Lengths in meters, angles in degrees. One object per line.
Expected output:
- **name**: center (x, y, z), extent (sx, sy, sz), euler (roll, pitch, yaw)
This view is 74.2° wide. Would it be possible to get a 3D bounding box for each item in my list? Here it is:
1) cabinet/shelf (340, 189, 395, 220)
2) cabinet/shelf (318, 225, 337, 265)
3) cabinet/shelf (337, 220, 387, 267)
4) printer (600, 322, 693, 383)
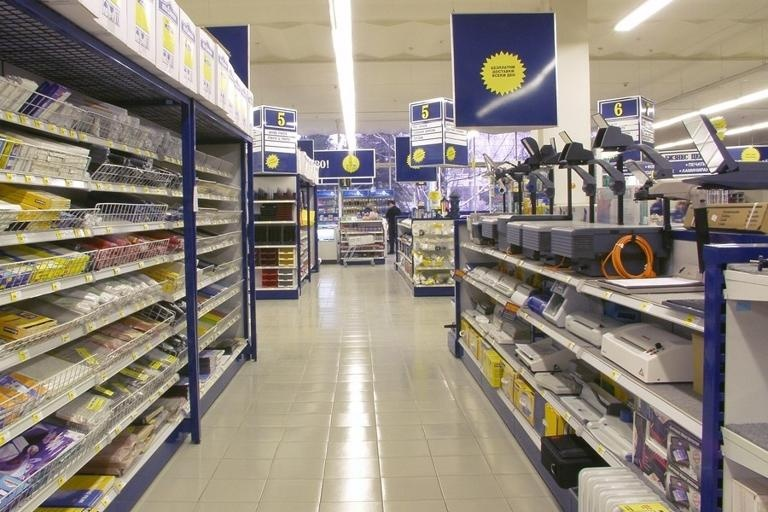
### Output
- **cabinet/shelf**: center (-0.526, -1.898, 17.900), extent (1.820, 0.932, 1.392), euler (-7, 11, -39)
- **cabinet/shelf**: center (-1.788, -0.363, 16.655), extent (0.644, 1.173, 0.644), euler (-2, 9, -9)
- **cabinet/shelf**: center (-0.666, -0.457, 16.153), extent (1.512, 1.442, 0.857), euler (-1, 9, -6)
- **printer**: center (1.507, 0.525, 2.790), extent (0.284, 0.152, 0.376), euler (-3, 7, -10)
